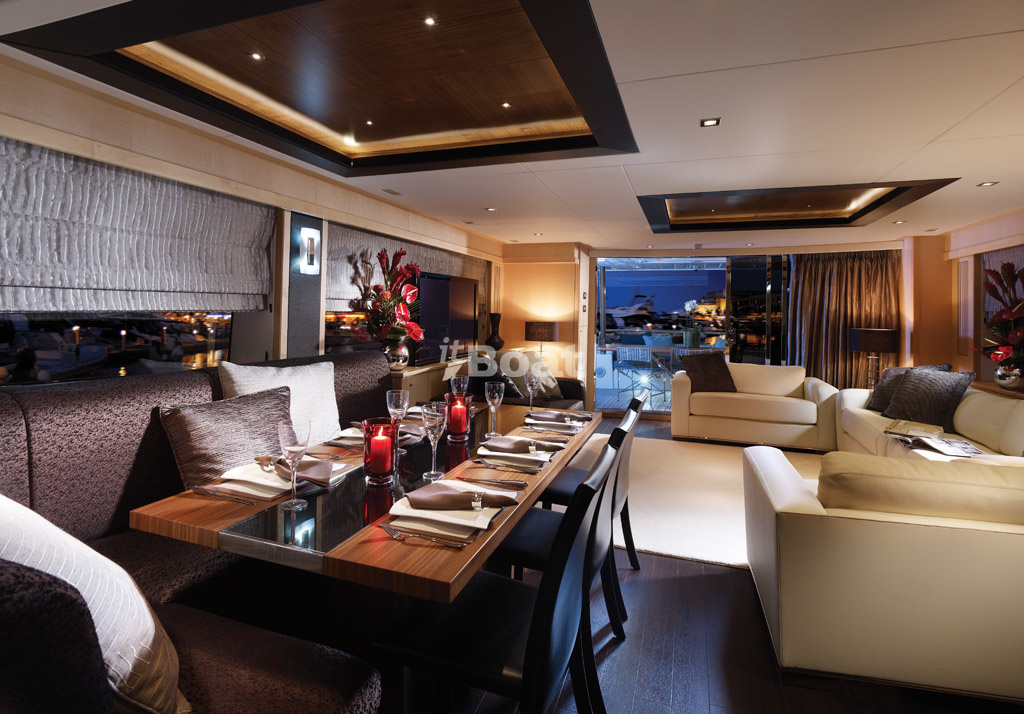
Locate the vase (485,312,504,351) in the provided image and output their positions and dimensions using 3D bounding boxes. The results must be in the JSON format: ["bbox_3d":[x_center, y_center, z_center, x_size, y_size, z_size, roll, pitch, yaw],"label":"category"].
[{"bbox_3d":[-0.224,-0.319,7.935,0.219,0.446,0.581,-2,5,-1],"label":"vase"}]

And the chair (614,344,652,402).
[{"bbox_3d":[1.665,0.222,8.924,0.535,0.777,0.542,-2,0,14],"label":"chair"}]

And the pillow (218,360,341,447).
[{"bbox_3d":[-1.292,0.268,3.713,0.683,0.492,0.239,5,-4,-44],"label":"pillow"}]

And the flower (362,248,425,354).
[{"bbox_3d":[-1.022,-0.497,5.658,0.449,0.906,0.836,-3,5,-9],"label":"flower"}]

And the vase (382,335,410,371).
[{"bbox_3d":[-0.966,-0.035,5.535,0.251,0.342,0.253,4,5,13],"label":"vase"}]

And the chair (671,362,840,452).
[{"bbox_3d":[2.473,0.492,6.798,1.576,0.896,0.896,4,-1,14],"label":"chair"}]

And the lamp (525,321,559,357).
[{"bbox_3d":[0.354,-0.257,7.717,0.284,0.460,0.285,2,12,7],"label":"lamp"}]

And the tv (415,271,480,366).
[{"bbox_3d":[-0.454,-0.360,6.726,1.541,0.911,0.079,6,11,44],"label":"tv"}]
